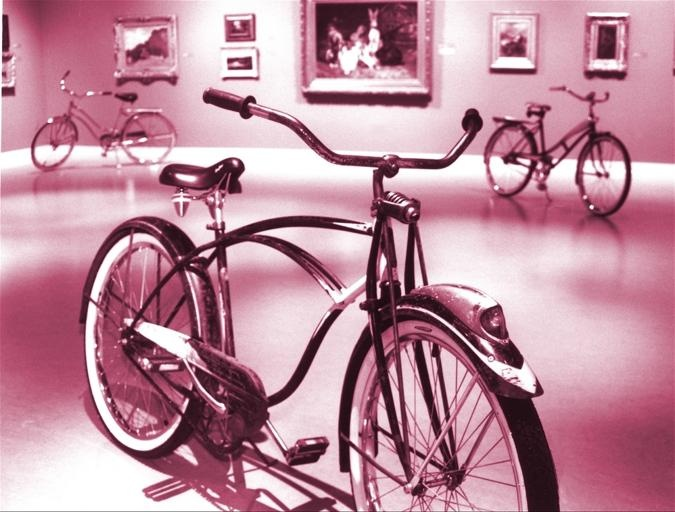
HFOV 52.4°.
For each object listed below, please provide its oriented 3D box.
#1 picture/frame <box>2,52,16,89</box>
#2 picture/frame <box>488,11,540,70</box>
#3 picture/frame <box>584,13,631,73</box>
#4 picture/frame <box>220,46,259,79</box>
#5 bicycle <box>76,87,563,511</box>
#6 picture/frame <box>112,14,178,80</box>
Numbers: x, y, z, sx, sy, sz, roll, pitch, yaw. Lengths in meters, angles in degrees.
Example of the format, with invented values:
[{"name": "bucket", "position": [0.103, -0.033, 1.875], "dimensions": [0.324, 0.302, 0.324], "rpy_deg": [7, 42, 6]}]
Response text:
[{"name": "picture/frame", "position": [-4.726, -2.696, 9.847], "dimensions": [0.188, 0.522, 0.325], "rpy_deg": [-5, 14, -21]}, {"name": "picture/frame", "position": [2.400, -2.946, 9.250], "dimensions": [0.718, 0.883, 0.085], "rpy_deg": [2, 3, 11]}, {"name": "picture/frame", "position": [3.564, -2.868, 9.032], "dimensions": [0.712, 1.088, 0.112], "rpy_deg": [1, 5, 9]}, {"name": "picture/frame", "position": [-1.436, -2.899, 10.129], "dimensions": [0.409, 0.336, 0.059], "rpy_deg": [2, 7, 7]}, {"name": "bicycle", "position": [-0.087, 0.139, 2.610], "dimensions": [1.962, 1.510, 0.705], "rpy_deg": [8, 15, 27]}, {"name": "picture/frame", "position": [-2.836, -3.172, 10.199], "dimensions": [0.869, 0.836, 0.100], "rpy_deg": [2, 9, 10]}]
